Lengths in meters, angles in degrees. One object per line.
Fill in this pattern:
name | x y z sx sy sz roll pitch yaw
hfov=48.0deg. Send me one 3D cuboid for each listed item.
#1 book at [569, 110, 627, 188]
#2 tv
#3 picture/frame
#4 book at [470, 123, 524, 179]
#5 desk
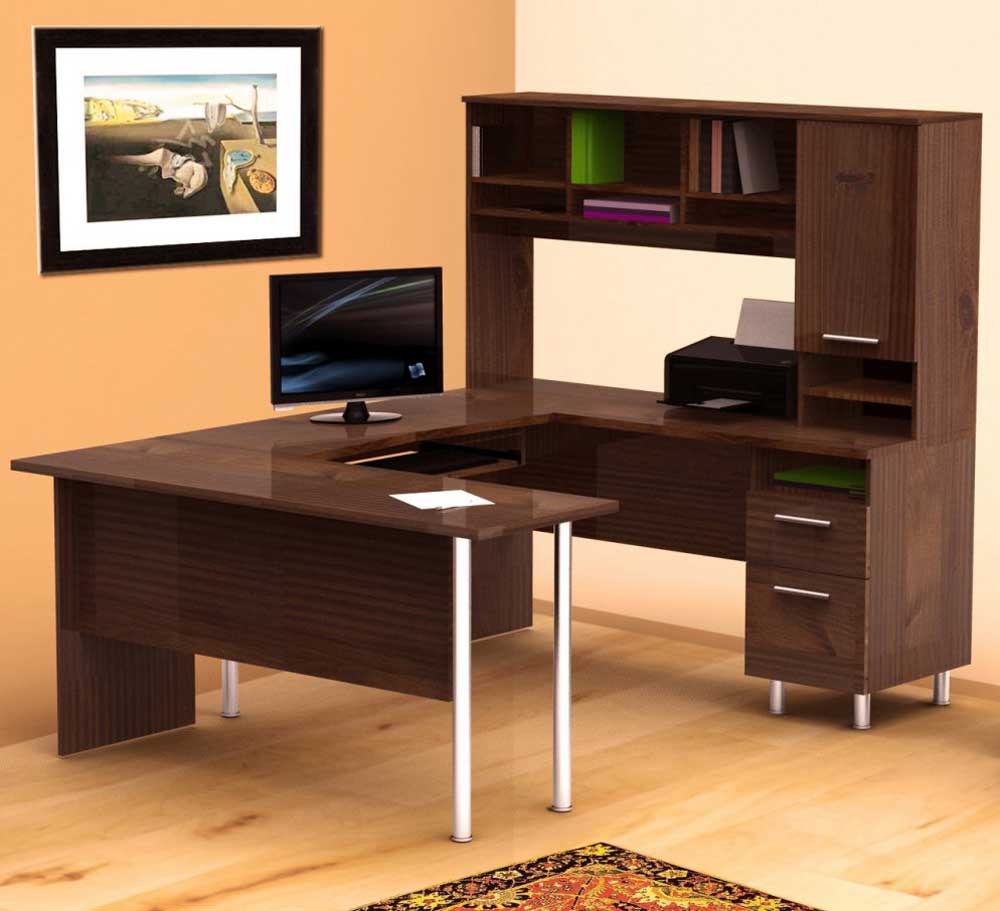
book | 0.334 -1.106 4.012 0.191 0.238 0.326 7 13 34
tv | -0.444 -0.350 3.459 0.685 0.352 0.062 -6 13 -32
picture/frame | -1.137 -1.068 3.838 1.250 0.673 0.045 -10 20 -38
book | -0.029 -1.146 4.171 0.233 0.182 0.052 3 7 -25
desk | -0.470 0.405 3.054 1.452 0.565 1.415 7 12 39
